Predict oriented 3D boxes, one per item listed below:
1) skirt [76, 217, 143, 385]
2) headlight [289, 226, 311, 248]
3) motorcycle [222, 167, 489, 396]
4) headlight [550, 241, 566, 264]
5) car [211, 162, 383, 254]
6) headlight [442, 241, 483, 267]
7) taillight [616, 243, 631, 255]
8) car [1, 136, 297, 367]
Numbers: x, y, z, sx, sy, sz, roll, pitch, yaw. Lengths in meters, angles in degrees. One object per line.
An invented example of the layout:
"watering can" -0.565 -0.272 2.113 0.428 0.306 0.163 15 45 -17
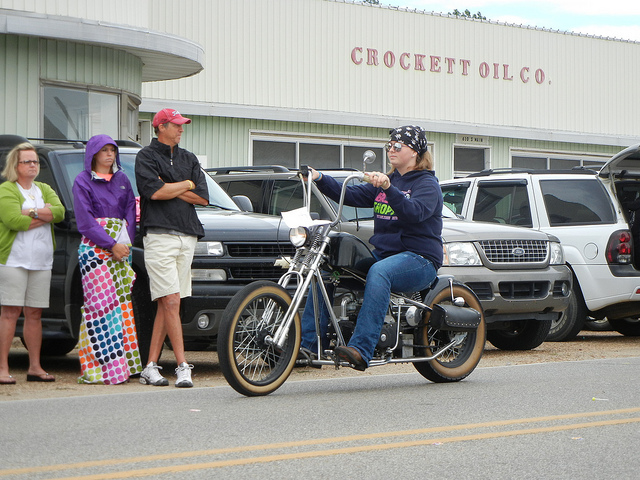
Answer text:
"skirt" -2.062 0.670 7.832 0.578 1.418 0.326 -3 6 -19
"headlight" -0.170 -0.029 6.822 0.150 0.204 0.209 0 7 12
"motorcycle" 0.375 0.421 7.376 2.990 1.872 1.078 2 -5 -34
"headlight" 3.026 0.159 10.308 0.202 0.294 0.100 4 -3 -27
"car" -0.368 -0.464 10.296 1.955 0.998 1.177 -1 1 39
"headlight" 1.685 0.170 9.631 0.419 0.179 0.331 -3 5 -4
"taillight" 4.162 0.118 11.098 0.164 0.162 0.148 2 -3 -39
"car" -1.788 0.087 8.732 3.255 1.986 2.077 -2 -1 41
